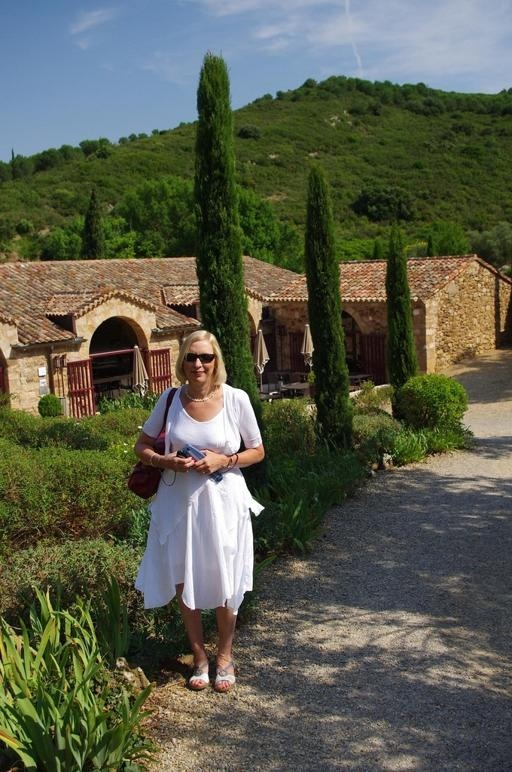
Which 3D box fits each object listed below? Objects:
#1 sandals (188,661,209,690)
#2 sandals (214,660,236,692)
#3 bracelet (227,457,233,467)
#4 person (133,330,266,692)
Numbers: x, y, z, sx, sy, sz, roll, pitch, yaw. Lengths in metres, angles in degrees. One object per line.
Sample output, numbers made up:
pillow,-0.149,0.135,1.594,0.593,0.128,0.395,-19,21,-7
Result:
sandals,-0.308,1.525,3.289,0.063,0.076,0.179,-1,-15,1
sandals,-0.167,1.530,3.288,0.082,0.067,0.180,0,-11,1
bracelet,-0.132,0.379,3.100,0.026,0.037,0.014,1,-3,-38
person,-0.320,0.674,3.220,0.658,1.879,0.468,6,7,0
